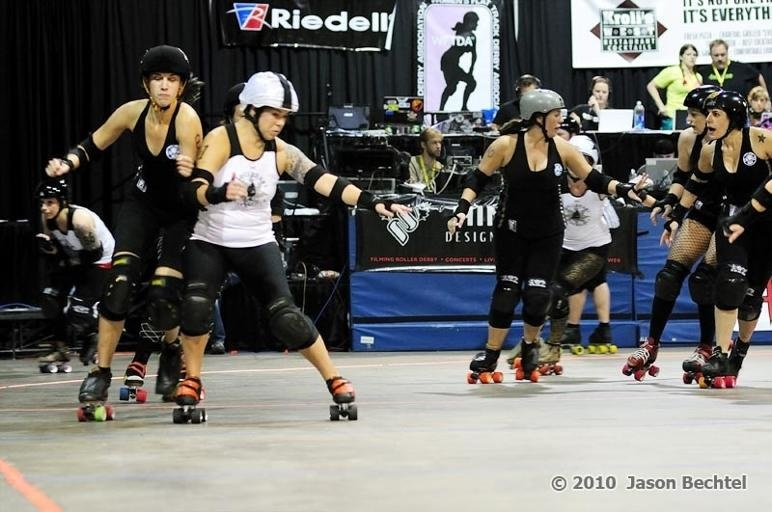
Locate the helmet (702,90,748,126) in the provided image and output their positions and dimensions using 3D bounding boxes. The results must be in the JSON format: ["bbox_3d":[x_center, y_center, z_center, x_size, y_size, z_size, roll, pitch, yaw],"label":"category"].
[{"bbox_3d":[2.335,-0.977,5.678,0.262,0.223,0.213,23,0,4],"label":"helmet"}]

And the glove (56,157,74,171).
[{"bbox_3d":[-1.998,-0.568,5.124,0.089,0.042,0.068,34,-21,3],"label":"glove"}]

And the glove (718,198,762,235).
[{"bbox_3d":[2.372,-0.238,5.476,0.170,0.254,0.100,46,9,24],"label":"glove"}]

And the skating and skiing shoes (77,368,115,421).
[{"bbox_3d":[-1.681,0.792,4.748,0.196,0.262,0.341,-3,9,-21],"label":"skating and skiing shoes"}]

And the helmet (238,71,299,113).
[{"bbox_3d":[-0.669,-0.951,4.802,0.208,0.196,0.299,1,9,-7],"label":"helmet"}]

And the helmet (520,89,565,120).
[{"bbox_3d":[1.120,-1.063,5.845,0.265,0.209,0.210,22,11,14],"label":"helmet"}]

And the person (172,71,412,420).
[{"bbox_3d":[-0.696,-0.078,4.686,0.990,1.908,0.532,-1,8,-6],"label":"person"}]

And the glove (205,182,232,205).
[{"bbox_3d":[-0.928,-0.338,4.507,0.095,0.125,0.170,-5,10,-34],"label":"glove"}]

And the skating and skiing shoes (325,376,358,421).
[{"bbox_3d":[-0.246,0.792,4.635,0.169,0.208,0.207,0,9,-5],"label":"skating and skiing shoes"}]

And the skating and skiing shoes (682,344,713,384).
[{"bbox_3d":[2.240,0.764,5.898,0.141,0.201,0.407,-5,-7,26],"label":"skating and skiing shoes"}]

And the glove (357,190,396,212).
[{"bbox_3d":[-0.056,-0.306,4.746,0.199,0.118,0.079,13,38,18],"label":"glove"}]

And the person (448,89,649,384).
[{"bbox_3d":[1.021,-0.107,5.981,1.040,2.135,0.472,3,9,15],"label":"person"}]

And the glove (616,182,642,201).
[{"bbox_3d":[1.746,-0.468,5.928,0.233,0.101,0.238,-2,6,5],"label":"glove"}]

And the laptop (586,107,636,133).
[{"bbox_3d":[2.807,-1.636,10.087,0.398,0.280,0.289,0,4,1],"label":"laptop"}]

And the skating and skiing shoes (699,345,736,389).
[{"bbox_3d":[2.296,0.758,5.681,0.219,0.258,0.205,4,9,22],"label":"skating and skiing shoes"}]

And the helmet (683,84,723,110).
[{"bbox_3d":[2.284,-1.160,5.890,0.228,0.192,0.171,10,-3,1],"label":"helmet"}]

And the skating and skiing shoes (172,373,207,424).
[{"bbox_3d":[-1.088,0.816,4.658,0.119,0.167,0.331,0,-8,-2],"label":"skating and skiing shoes"}]

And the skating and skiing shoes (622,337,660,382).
[{"bbox_3d":[2.019,0.815,6.495,0.168,0.261,0.358,10,11,34],"label":"skating and skiing shoes"}]

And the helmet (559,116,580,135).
[{"bbox_3d":[1.559,-1.090,7.067,0.156,0.198,0.186,1,-6,-2],"label":"helmet"}]

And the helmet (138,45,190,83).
[{"bbox_3d":[-1.320,-1.152,4.915,0.216,0.188,0.237,-1,-20,-8],"label":"helmet"}]
